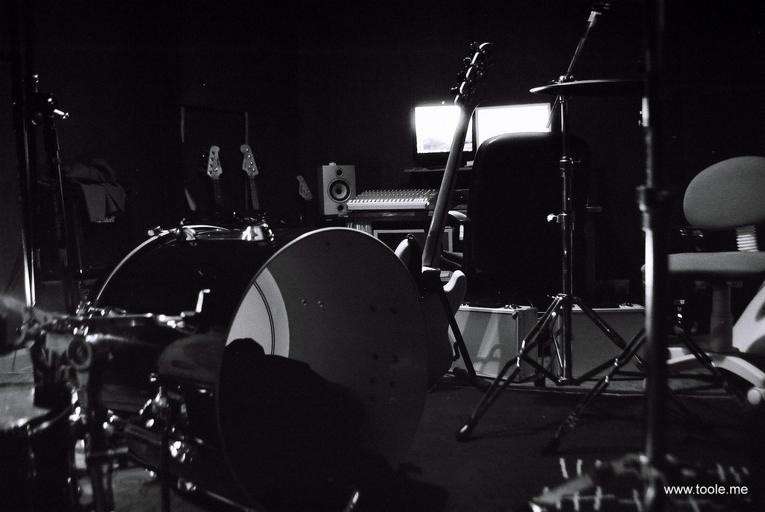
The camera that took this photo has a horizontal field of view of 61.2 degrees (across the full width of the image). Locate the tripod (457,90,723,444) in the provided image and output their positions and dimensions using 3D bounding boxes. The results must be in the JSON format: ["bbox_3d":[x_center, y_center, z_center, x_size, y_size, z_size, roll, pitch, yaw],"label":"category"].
[{"bbox_3d":[0.831,-0.041,2.837,0.973,1.559,0.978,2,-3,-36],"label":"tripod"}]

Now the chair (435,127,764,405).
[{"bbox_3d":[1.046,0.017,3.489,1.087,1.709,1.273,-2,1,5],"label":"chair"}]

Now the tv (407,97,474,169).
[{"bbox_3d":[0.472,-0.920,5.047,0.528,0.511,0.282,-1,-15,2],"label":"tv"}]

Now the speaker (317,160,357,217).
[{"bbox_3d":[-0.365,-0.506,5.062,0.291,0.398,0.132,-1,3,2],"label":"speaker"}]

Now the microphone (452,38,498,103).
[{"bbox_3d":[0.416,-0.795,2.876,0.125,0.044,0.318,3,-32,13],"label":"microphone"}]

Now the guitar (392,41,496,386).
[{"bbox_3d":[0.288,-0.112,2.817,0.481,1.509,0.340,6,9,-5],"label":"guitar"}]
